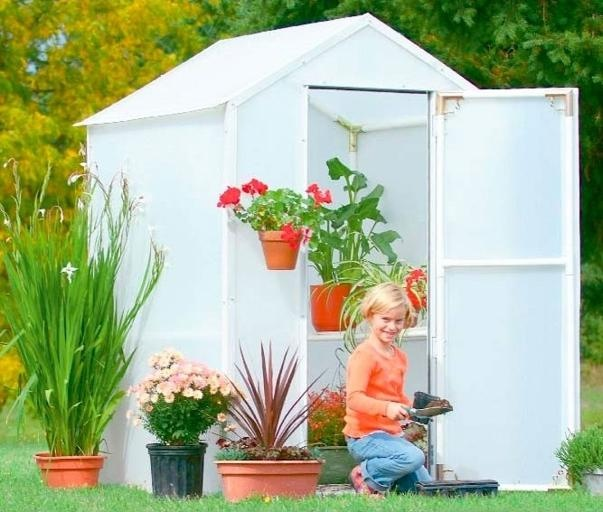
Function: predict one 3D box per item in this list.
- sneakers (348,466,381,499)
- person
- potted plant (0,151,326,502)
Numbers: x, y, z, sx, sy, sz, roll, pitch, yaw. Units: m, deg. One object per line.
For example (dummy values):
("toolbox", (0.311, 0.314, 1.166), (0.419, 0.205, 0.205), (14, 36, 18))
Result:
("sneakers", (0.468, 1.575, 11.043), (0.099, 0.235, 0.301), (1, 0, -32))
("person", (0.595, 0.927, 11.050), (0.594, 1.458, 0.521), (0, -7, -3))
("potted plant", (-0.660, 0.668, 12.556), (1.871, 3.851, 2.472), (1, -10, 4))
